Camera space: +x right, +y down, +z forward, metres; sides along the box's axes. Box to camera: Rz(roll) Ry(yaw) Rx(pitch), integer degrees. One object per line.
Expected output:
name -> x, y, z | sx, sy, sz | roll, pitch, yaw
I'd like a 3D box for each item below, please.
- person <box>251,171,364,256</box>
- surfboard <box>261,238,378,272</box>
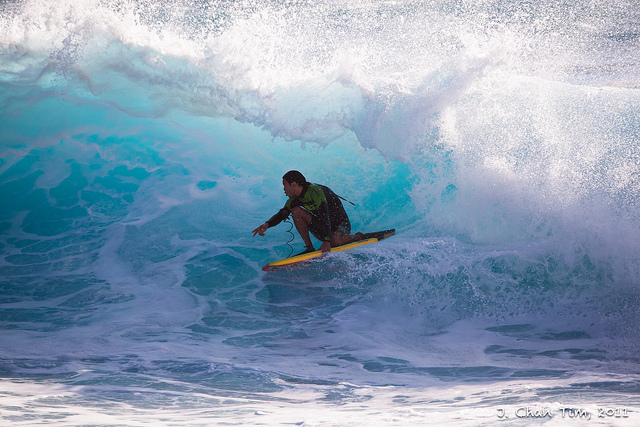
person -> -0.151, 0.044, 12.510 | 2.228, 1.231, 0.881 | 3, -11, -8
surfboard -> 0.047, 0.742, 12.561 | 1.807, 0.112, 0.202 | -13, -32, -13
